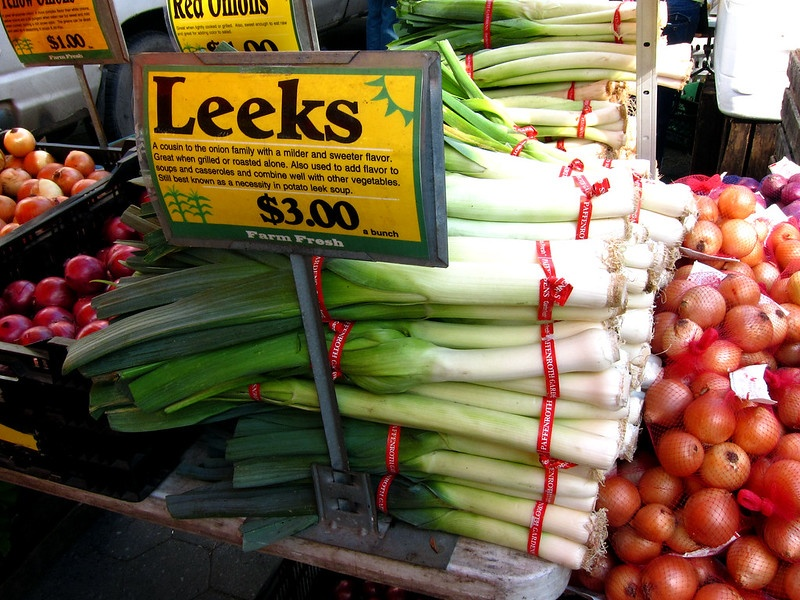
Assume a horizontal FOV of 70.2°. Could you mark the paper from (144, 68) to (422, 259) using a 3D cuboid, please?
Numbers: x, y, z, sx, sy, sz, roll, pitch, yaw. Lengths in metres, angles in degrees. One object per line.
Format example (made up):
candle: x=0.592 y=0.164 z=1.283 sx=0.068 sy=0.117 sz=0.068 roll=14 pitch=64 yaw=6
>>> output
paper: x=-0.269 y=-0.348 z=1.377 sx=0.623 sy=0.306 sz=0.070 roll=4 pitch=22 yaw=13
